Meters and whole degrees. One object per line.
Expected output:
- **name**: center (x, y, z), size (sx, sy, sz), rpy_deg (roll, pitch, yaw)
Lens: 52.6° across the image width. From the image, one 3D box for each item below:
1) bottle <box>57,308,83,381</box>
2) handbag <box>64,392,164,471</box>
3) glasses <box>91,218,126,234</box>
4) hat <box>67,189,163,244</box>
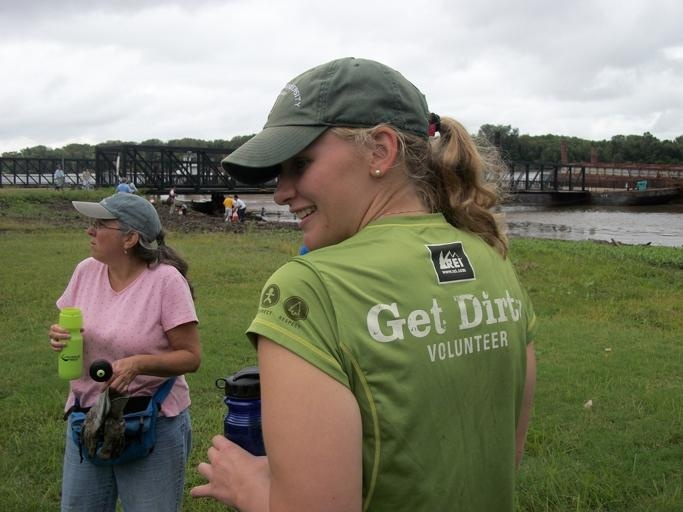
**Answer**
- **bottle**: center (-1.672, 0.534, 4.270), size (0.141, 0.427, 0.110), rpy_deg (-3, 7, -24)
- **handbag**: center (-1.344, 1.107, 4.227), size (0.311, 0.502, 0.466), rpy_deg (0, 45, 11)
- **glasses**: center (-1.542, -0.206, 4.552), size (0.219, 0.116, 0.142), rpy_deg (11, -2, -20)
- **hat**: center (-1.472, -0.280, 4.568), size (0.494, 0.294, 0.328), rpy_deg (22, -1, -21)
